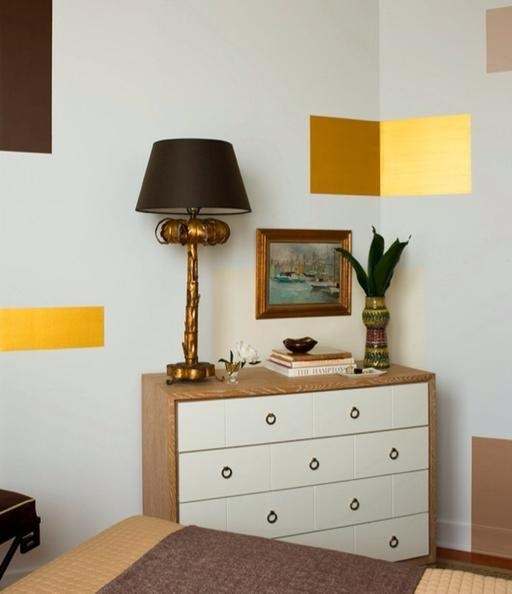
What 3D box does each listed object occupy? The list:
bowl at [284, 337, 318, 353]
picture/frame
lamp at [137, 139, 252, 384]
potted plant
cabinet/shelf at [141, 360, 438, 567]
[{"bbox_3d":[0.186,0.202,2.309,0.122,0.066,0.208,-2,-3,5],"label":"bowl"},{"bbox_3d":[0.202,-0.109,2.531,0.418,0.374,0.031,-1,4,-24],"label":"picture/frame"},{"bbox_3d":[-0.241,-0.148,2.090,0.413,0.930,0.478,-1,-3,-12],"label":"lamp"},{"bbox_3d":[0.506,-0.007,2.363,0.260,0.637,0.245,0,-3,-29],"label":"potted plant"},{"bbox_3d":[0.168,0.712,2.251,1.102,0.811,0.443,-2,2,-19],"label":"cabinet/shelf"}]
